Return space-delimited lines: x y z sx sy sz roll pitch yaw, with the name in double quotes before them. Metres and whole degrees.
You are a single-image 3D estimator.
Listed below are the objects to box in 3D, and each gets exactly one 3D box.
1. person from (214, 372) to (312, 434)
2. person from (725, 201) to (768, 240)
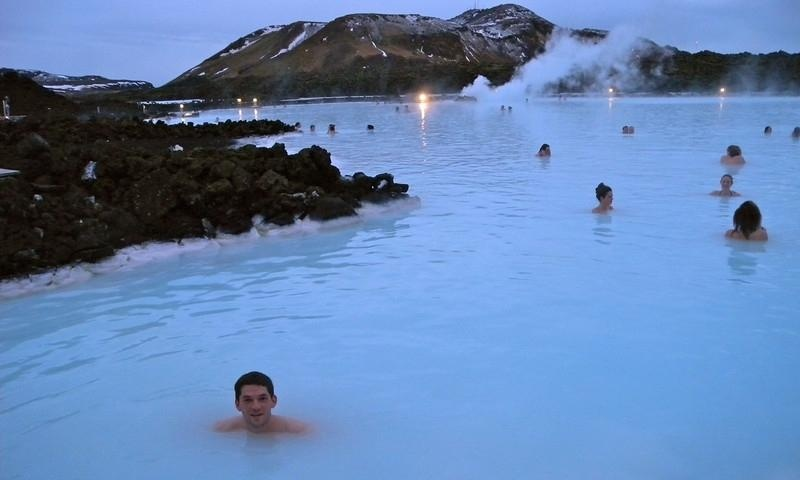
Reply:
"person" -1.942 2.312 8.965 1.453 0.792 0.739 0 -9 -3
"person" 7.123 -0.352 13.104 0.910 0.708 0.505 5 11 32
